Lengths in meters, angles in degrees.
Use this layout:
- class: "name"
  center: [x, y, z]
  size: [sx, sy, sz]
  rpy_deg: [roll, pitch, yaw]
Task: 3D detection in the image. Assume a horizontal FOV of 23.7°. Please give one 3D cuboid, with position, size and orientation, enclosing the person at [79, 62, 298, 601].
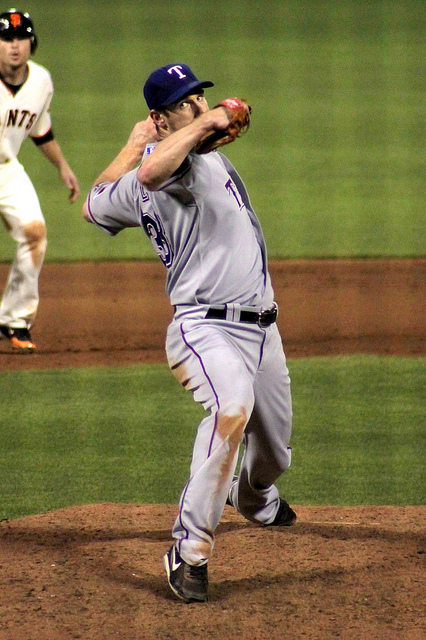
- class: "person"
  center: [-0.036, 0.104, 3.859]
  size: [0.797, 1.795, 1.167]
  rpy_deg: [-5, 28, -9]

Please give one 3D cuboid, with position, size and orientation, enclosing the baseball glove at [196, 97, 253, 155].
- class: "baseball glove"
  center: [0.038, -0.681, 3.673]
  size: [0.191, 0.249, 0.240]
  rpy_deg: [1, 27, 2]

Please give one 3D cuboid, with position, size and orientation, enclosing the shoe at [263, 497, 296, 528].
- class: "shoe"
  center: [0.293, 0.826, 4.375]
  size: [0.146, 0.141, 0.092]
  rpy_deg: [-2, 5, -2]
